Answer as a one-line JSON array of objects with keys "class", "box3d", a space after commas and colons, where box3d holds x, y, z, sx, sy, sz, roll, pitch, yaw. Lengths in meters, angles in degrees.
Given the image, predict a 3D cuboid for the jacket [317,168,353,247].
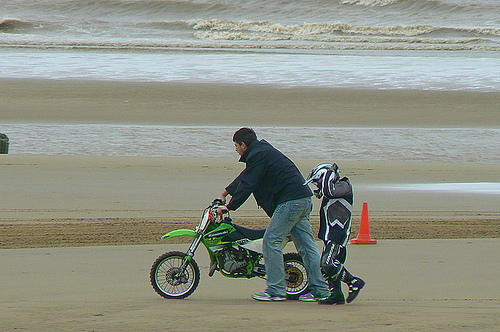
[{"class": "jacket", "box3d": [3.834, 1.860, 56.785, 1.884, 3.027, 2.204, 1, -14, -5]}]
